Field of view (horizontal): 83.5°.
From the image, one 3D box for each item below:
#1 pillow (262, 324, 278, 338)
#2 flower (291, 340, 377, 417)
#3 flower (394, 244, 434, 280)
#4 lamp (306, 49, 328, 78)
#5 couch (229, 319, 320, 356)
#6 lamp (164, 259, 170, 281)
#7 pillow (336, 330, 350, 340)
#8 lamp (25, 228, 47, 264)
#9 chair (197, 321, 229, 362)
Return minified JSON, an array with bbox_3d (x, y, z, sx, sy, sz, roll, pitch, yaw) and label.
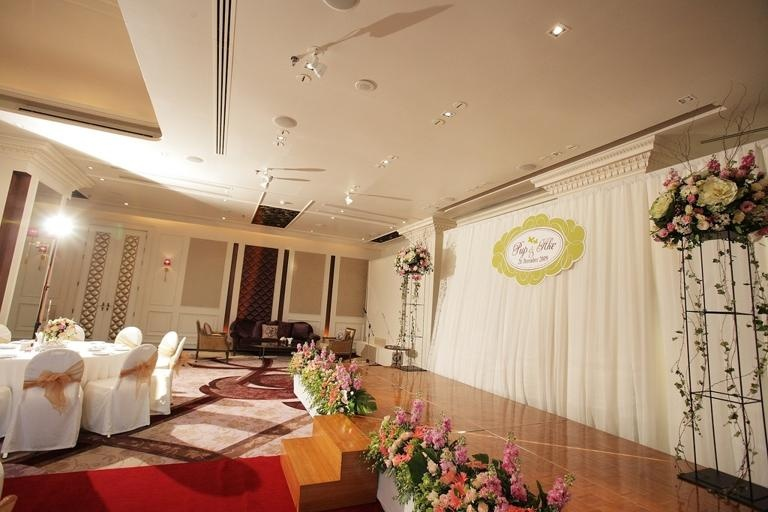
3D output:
[{"bbox_3d":[-3.091,2.018,11.648,0.441,0.401,0.288,8,-11,-13],"label":"pillow"},{"bbox_3d":[-0.875,1.895,6.787,0.737,0.702,2.017,0,0,-16],"label":"flower"},{"bbox_3d":[0.621,0.075,9.273,0.768,0.625,0.753,5,6,26],"label":"flower"},{"bbox_3d":[-0.830,-2.219,5.129,0.236,0.256,0.425,9,-11,-15],"label":"lamp"},{"bbox_3d":[-3.049,2.232,11.862,2.409,0.976,0.779,8,-8,-25],"label":"couch"},{"bbox_3d":[-5.764,0.347,11.443,0.169,0.522,0.130,4,0,-24],"label":"lamp"},{"bbox_3d":[-1.157,2.248,12.268,0.304,0.247,0.098,-2,-19,32],"label":"pillow"},{"bbox_3d":[-6.708,-0.207,8.335,0.176,0.587,0.777,10,-12,-19],"label":"lamp"},{"bbox_3d":[-4.308,2.096,10.924,0.745,0.883,1.028,4,-6,-17],"label":"chair"}]
